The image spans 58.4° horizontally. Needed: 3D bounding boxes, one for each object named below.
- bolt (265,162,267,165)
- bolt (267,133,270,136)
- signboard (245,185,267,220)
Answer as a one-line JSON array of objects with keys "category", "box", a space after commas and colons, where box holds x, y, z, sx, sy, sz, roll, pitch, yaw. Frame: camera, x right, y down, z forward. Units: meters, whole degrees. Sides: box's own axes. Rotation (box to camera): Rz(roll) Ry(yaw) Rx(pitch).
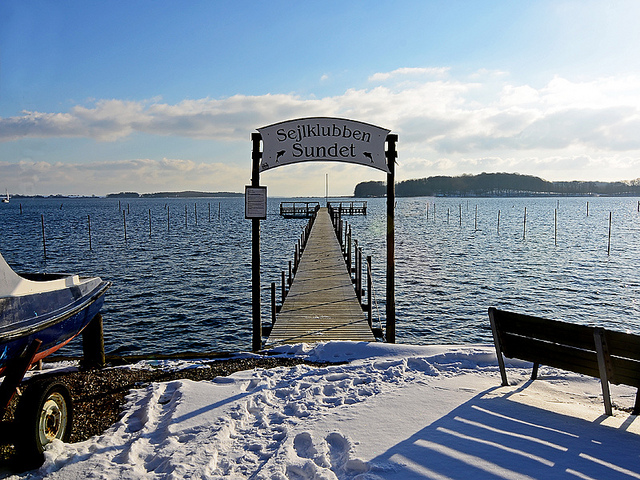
[{"category": "bolt", "box": [-1.075, -1.523, 11.388, 0.039, 0.037, 0.014, -4, 15, -6]}, {"category": "bolt", "box": [-1.024, -2.108, 11.386, 0.050, 0.051, 0.092, -3, 2, -15]}, {"category": "signboard", "box": [-1.254, -0.713, 11.169, 0.403, 0.652, 0.384, -4, 15, -6]}]
